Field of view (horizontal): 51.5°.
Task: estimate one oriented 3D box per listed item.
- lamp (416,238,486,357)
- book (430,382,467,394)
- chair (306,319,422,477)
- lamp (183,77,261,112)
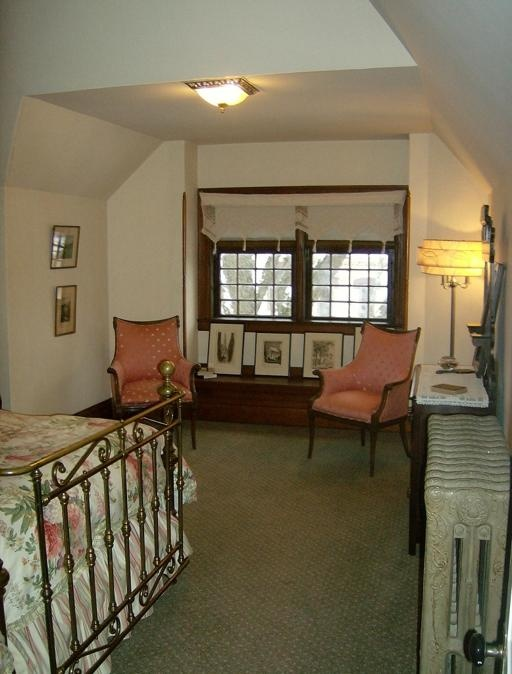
[{"bbox_3d":[1.587,-0.294,4.387,0.510,1.024,1.520,2,5,21],"label":"lamp"},{"bbox_3d":[1.052,0.282,2.917,0.182,0.034,0.168,-4,7,-38],"label":"book"},{"bbox_3d":[0.896,0.477,4.566,0.802,1.148,0.716,5,6,44],"label":"chair"},{"bbox_3d":[-0.228,-1.645,3.571,0.488,0.137,0.392,1,5,2],"label":"lamp"}]
